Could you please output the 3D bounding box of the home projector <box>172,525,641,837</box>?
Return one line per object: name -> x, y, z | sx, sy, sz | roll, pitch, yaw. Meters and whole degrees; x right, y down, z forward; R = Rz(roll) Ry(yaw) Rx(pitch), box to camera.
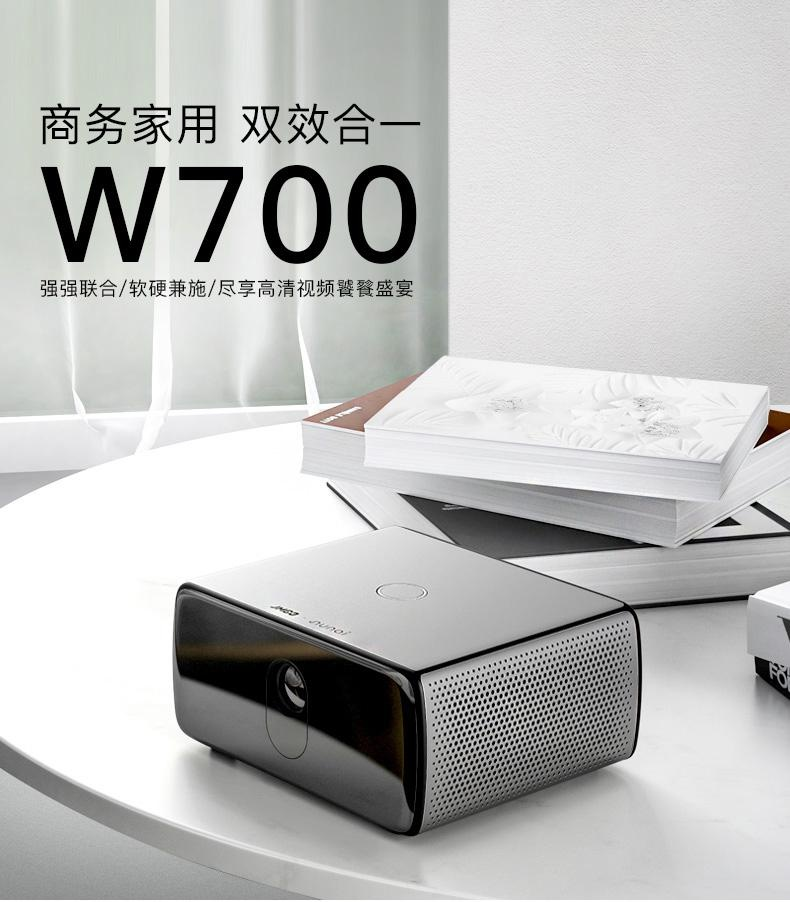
home projector -> 0.004, 0.037, 0.243 | 0.078, 0.058, 0.102 | -11, 16, -38
